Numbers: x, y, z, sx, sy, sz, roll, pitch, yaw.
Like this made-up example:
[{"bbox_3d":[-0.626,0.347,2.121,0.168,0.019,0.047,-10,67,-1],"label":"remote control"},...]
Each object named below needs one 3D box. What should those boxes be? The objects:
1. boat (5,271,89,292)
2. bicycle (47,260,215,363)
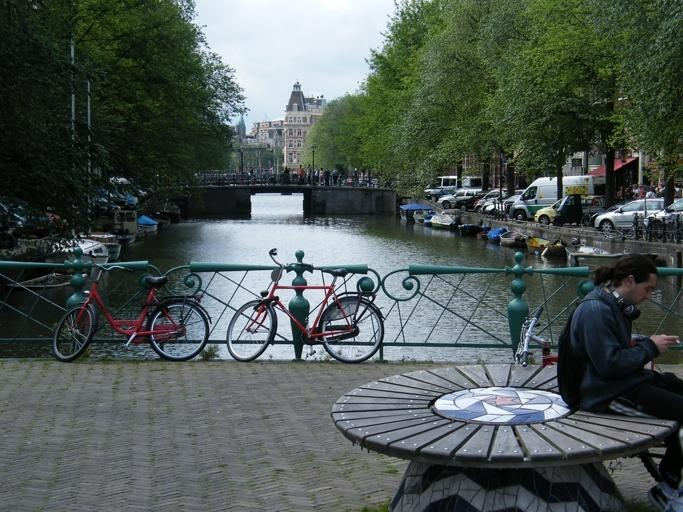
[{"bbox_3d":[-4.232,0.387,10.905,0.532,0.249,1.611,1,1,32],"label":"boat"},{"bbox_3d":[-2.465,0.664,8.839,1.772,1.125,0.764,-1,5,-9],"label":"bicycle"}]
